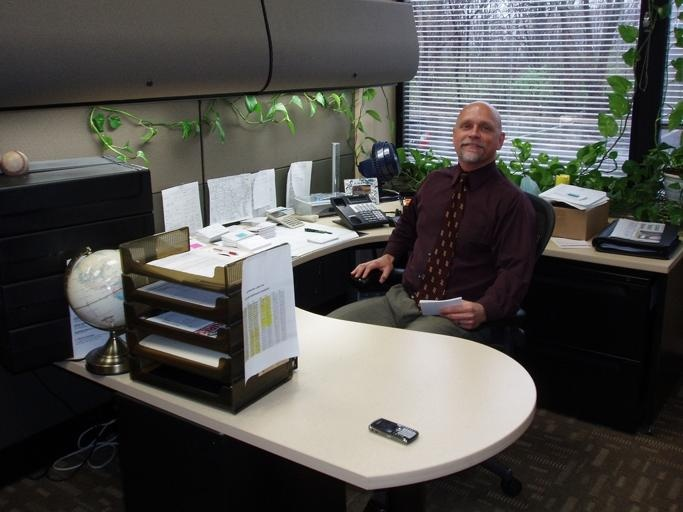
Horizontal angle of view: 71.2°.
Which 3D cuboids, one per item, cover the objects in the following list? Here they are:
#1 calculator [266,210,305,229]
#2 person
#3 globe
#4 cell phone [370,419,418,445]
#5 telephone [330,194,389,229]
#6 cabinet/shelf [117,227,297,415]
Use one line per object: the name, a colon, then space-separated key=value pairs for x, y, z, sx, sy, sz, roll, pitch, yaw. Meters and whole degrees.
calculator: x=-0.318 y=-0.207 z=2.745 sx=0.160 sy=0.049 sz=0.119 roll=19 pitch=26 yaw=35
person: x=0.472 y=-0.277 z=2.495 sx=1.034 sy=1.309 sz=0.984 roll=-2 pitch=13 yaw=-37
globe: x=-0.670 y=0.142 z=1.422 sx=0.196 sy=0.390 sz=0.167 roll=19 pitch=20 yaw=38
cell phone: x=0.123 y=0.417 z=1.135 sx=0.081 sy=0.020 sz=0.048 roll=14 pitch=25 yaw=33
telephone: x=0.082 y=-0.260 z=2.725 sx=0.206 sy=0.086 sz=0.267 roll=-12 pitch=40 yaw=-29
cabinet/shelf: x=-0.366 y=0.168 z=1.352 sx=0.396 sy=0.376 sz=0.313 roll=8 pitch=12 yaw=33
